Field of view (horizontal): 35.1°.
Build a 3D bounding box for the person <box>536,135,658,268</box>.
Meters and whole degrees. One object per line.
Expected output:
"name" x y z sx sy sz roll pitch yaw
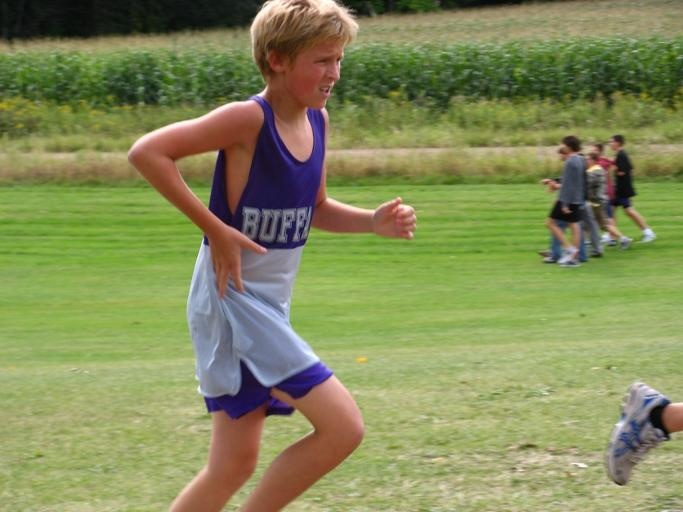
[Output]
"person" 3.172 -0.761 14.123 0.852 1.636 1.426 6 11 27
